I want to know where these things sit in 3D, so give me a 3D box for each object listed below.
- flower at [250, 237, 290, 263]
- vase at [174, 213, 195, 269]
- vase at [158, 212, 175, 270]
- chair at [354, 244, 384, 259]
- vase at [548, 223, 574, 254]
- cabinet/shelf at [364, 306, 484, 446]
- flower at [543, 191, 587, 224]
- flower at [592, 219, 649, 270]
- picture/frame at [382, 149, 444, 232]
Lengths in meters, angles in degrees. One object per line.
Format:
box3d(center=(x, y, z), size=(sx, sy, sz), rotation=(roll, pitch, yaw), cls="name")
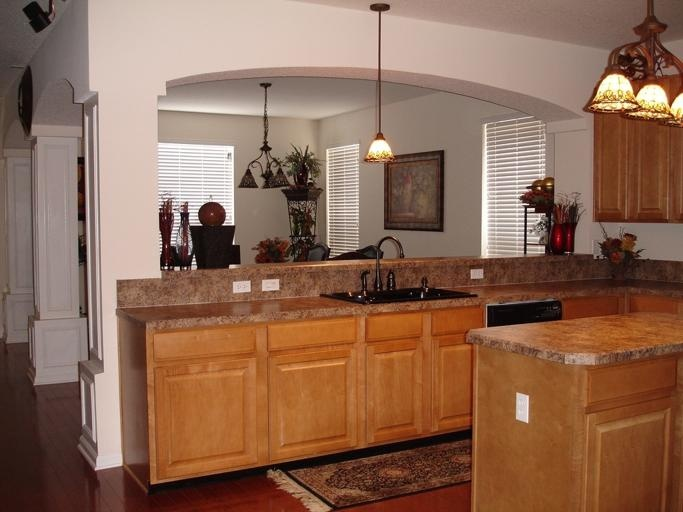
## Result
box3d(center=(-0.690, -0.057, 5.874), size=(0.401, 0.228, 0.388), rotation=(-3, 4, -30), cls="flower")
box3d(center=(-1.163, -0.124, 4.133), size=(0.130, 0.409, 0.144), rotation=(-3, 10, -17), cls="vase")
box3d(center=(-1.246, -0.112, 3.997), size=(0.108, 0.413, 0.122), rotation=(-3, 10, -18), cls="vase")
box3d(center=(0.263, -0.050, 6.261), size=(0.221, 0.240, 0.196), rotation=(0, 1, -29), cls="chair")
box3d(center=(2.118, -0.180, 5.550), size=(0.283, 0.352, 0.254), rotation=(-1, 4, -9), cls="vase")
box3d(center=(0.533, 0.822, 4.196), size=(1.108, 0.972, 0.406), rotation=(-1, 3, -30), cls="cabinet/shelf")
box3d(center=(2.185, -0.448, 5.550), size=(0.363, 0.326, 0.321), rotation=(3, -5, -18), cls="flower")
box3d(center=(2.717, -0.089, 5.503), size=(0.489, 0.455, 0.361), rotation=(-5, 10, -28), cls="flower")
box3d(center=(1.024, -0.924, 7.757), size=(0.085, 1.226, 1.249), rotation=(-2, 4, -32), cls="picture/frame")
